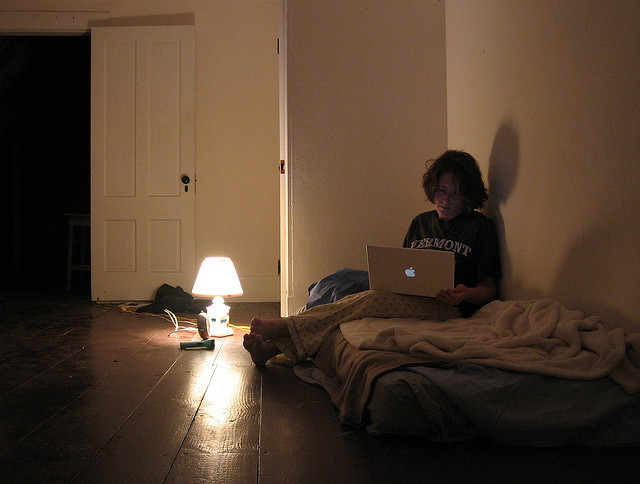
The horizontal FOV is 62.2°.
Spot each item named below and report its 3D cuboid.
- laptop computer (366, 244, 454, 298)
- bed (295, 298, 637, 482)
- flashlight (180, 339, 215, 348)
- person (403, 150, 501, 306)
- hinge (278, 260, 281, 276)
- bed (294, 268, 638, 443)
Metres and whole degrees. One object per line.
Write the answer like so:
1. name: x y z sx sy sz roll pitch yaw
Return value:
1. laptop computer: 0.427 0.125 2.459 0.515 0.253 0.348 0 -1 15
2. bed: 0.584 0.542 1.889 0.651 0.219 0.686 -1 1 -10
3. flashlight: -0.664 0.560 2.907 0.216 0.065 0.062 -2 -6 3
4. person: 0.621 -0.041 2.690 0.485 0.819 0.547 -8 15 -39
5. hinge: -0.369 0.228 4.775 0.018 0.128 0.054 -2 8 -12
6. bed: 0.583 0.454 2.092 1.109 0.401 0.589 1 8 5
